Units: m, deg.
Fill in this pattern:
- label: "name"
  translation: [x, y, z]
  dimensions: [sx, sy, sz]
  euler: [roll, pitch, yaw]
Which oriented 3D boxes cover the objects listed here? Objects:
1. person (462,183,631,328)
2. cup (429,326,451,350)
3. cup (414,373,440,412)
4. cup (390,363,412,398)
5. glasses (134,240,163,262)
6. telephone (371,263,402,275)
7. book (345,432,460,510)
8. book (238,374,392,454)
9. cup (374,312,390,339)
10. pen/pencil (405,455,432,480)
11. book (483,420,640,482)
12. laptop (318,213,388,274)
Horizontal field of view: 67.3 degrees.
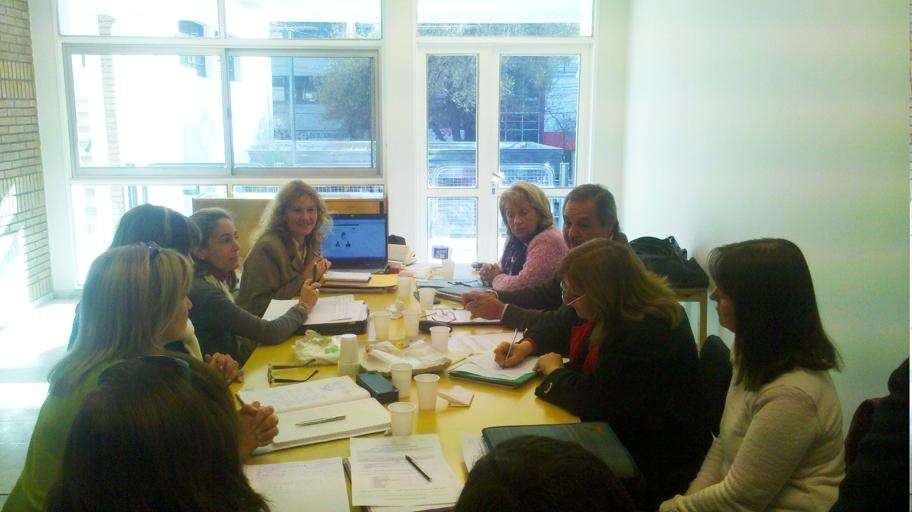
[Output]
- label: "person"
  translation: [0.644, -0.023, 4.207]
  dimensions: [1.195, 0.781, 0.706]
  euler: [-1, 4, -4]
- label: "cup"
  translation: [-0.080, 0.418, 3.467]
  dimensions: [0.126, 0.101, 0.114]
  euler: [0, -2, -6]
- label: "cup"
  translation: [-0.127, 0.610, 3.075]
  dimensions: [0.168, 0.132, 0.152]
  euler: [-1, 2, -10]
- label: "cup"
  translation: [-0.247, 0.579, 3.160]
  dimensions: [0.157, 0.133, 0.146]
  euler: [-2, -2, 0]
- label: "glasses"
  translation: [-1.244, -0.022, 2.781]
  dimensions: [0.131, 0.083, 0.137]
  euler: [2, -6, -26]
- label: "telephone"
  translation: [-0.487, 0.093, 4.885]
  dimensions: [0.151, 0.093, 0.089]
  euler: [-1, 31, 6]
- label: "book"
  translation: [-0.207, 0.872, 2.782]
  dimensions: [0.437, 0.175, 0.338]
  euler: [-2, 8, -8]
- label: "book"
  translation: [-0.574, 0.693, 3.032]
  dimensions: [0.378, 0.035, 0.371]
  euler: [-6, 18, -20]
- label: "cup"
  translation: [-0.393, 0.371, 3.653]
  dimensions: [0.147, 0.120, 0.132]
  euler: [-1, 1, -14]
- label: "pen/pencil"
  translation: [-0.154, 0.866, 2.785]
  dimensions: [0.017, 0.018, 0.119]
  euler: [-45, 45, -8]
- label: "book"
  translation: [0.446, 0.763, 2.810]
  dimensions: [0.420, 0.081, 0.378]
  euler: [1, 10, -4]
- label: "laptop"
  translation: [-0.728, -0.104, 4.904]
  dimensions: [0.602, 0.361, 0.412]
  euler: [0, -25, -5]
